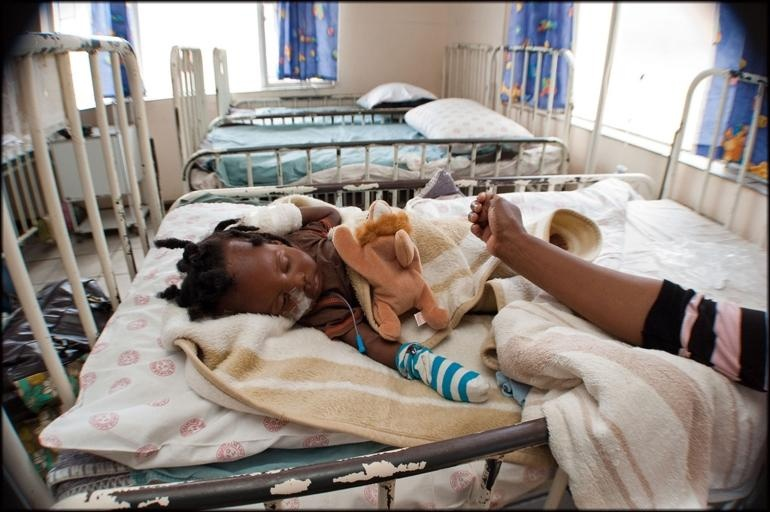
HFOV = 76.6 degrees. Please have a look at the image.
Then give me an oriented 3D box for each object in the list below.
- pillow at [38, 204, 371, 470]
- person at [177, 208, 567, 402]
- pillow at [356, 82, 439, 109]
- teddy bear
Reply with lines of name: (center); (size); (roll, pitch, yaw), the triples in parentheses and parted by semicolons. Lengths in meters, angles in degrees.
pillow: (-0.608, 0.351, 1.520); (0.712, 0.112, 0.807); (9, 15, -24)
person: (-0.190, 0.098, 1.460); (0.773, 0.222, 0.613); (27, 37, 15)
pillow: (0.119, -1.369, 4.171); (0.451, 0.132, 0.360); (-7, 24, -6)
teddy bear: (0.019, 0.058, 1.532); (0.323, 0.265, 0.420); (-16, 65, -20)
